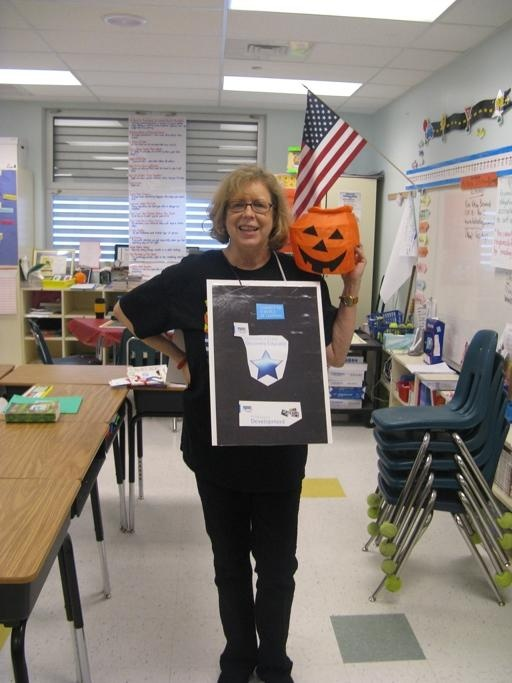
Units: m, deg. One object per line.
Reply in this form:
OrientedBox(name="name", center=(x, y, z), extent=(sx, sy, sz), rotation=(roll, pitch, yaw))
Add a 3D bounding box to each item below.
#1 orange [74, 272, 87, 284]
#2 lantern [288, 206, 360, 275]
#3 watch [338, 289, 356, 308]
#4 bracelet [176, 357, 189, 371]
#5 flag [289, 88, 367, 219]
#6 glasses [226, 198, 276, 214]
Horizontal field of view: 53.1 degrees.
OrientedBox(name="orange", center=(-1.888, -0.682, 5.465), extent=(0.131, 0.152, 0.088), rotation=(-1, -5, 10))
OrientedBox(name="lantern", center=(0.162, -0.248, 1.297), extent=(0.184, 0.174, 0.179), rotation=(1, 14, 5))
OrientedBox(name="watch", center=(0.243, -0.115, 1.343), extent=(0.046, 0.033, 0.050), rotation=(-8, 24, -43))
OrientedBox(name="bracelet", center=(-0.207, 0.065, 1.431), extent=(0.016, 0.021, 0.051), rotation=(0, 16, 6))
OrientedBox(name="flag", center=(0.219, -0.613, 1.618), extent=(0.240, 0.549, 0.011), rotation=(-3, -17, 14))
OrientedBox(name="glasses", center=(-0.015, -0.324, 1.243), extent=(0.104, 0.036, 0.046), rotation=(1, 7, -2))
